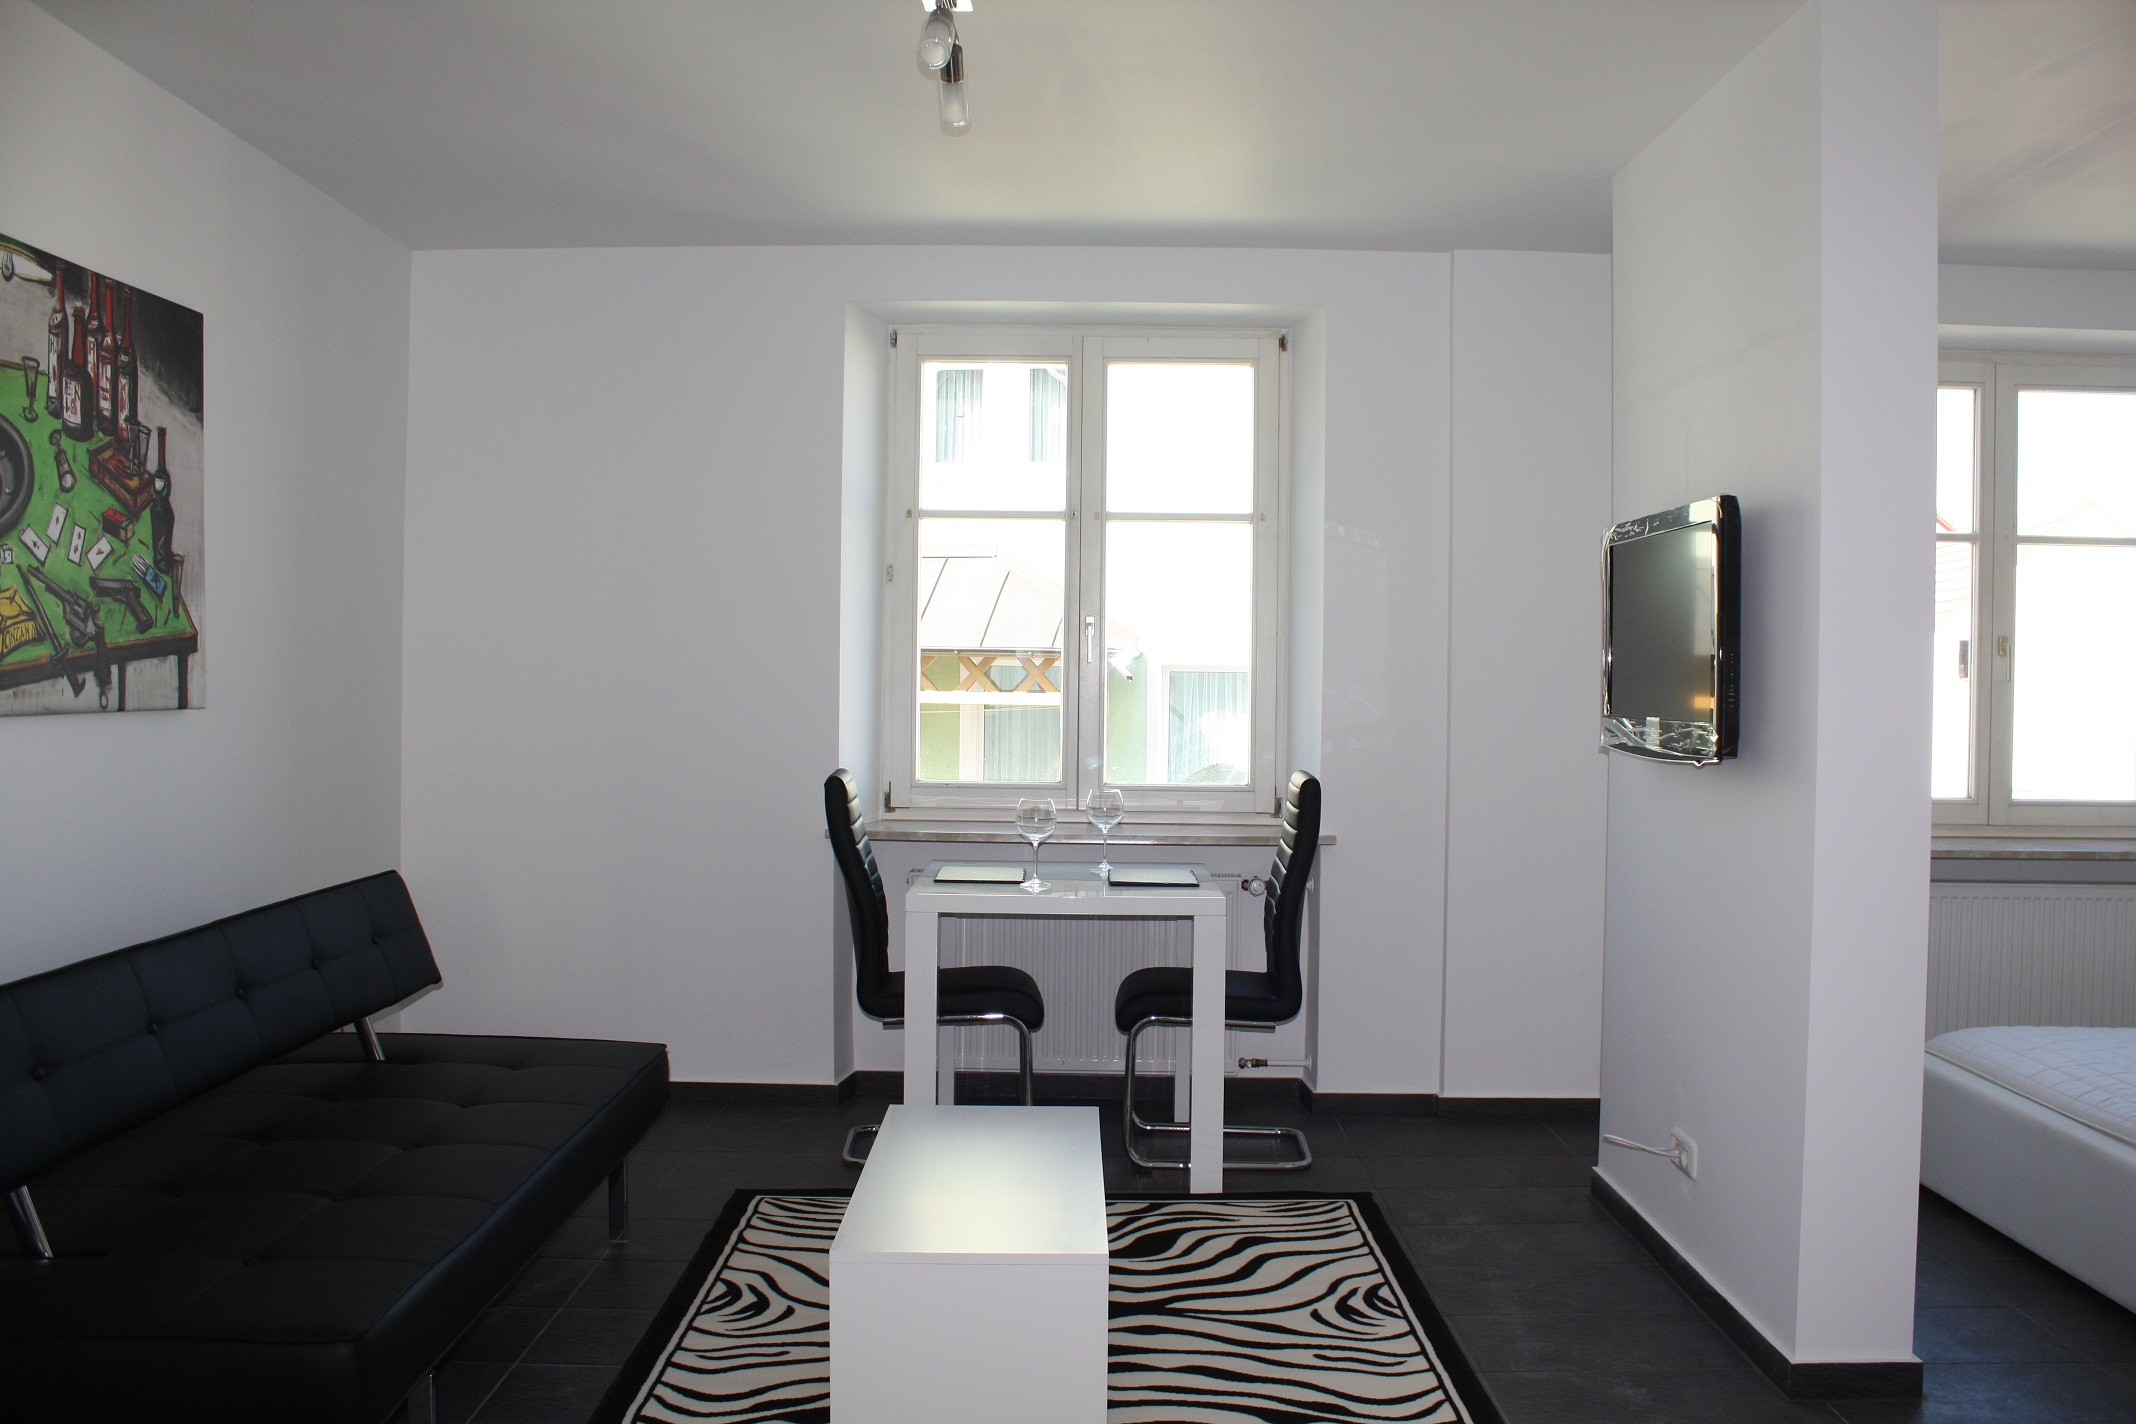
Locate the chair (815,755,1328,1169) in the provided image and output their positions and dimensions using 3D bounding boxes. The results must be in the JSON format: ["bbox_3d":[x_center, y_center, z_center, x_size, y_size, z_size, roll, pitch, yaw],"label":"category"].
[{"bbox_3d":[0.012,1.001,5.507,1.368,1.066,0.489,0,-4,3],"label":"chair"}]
